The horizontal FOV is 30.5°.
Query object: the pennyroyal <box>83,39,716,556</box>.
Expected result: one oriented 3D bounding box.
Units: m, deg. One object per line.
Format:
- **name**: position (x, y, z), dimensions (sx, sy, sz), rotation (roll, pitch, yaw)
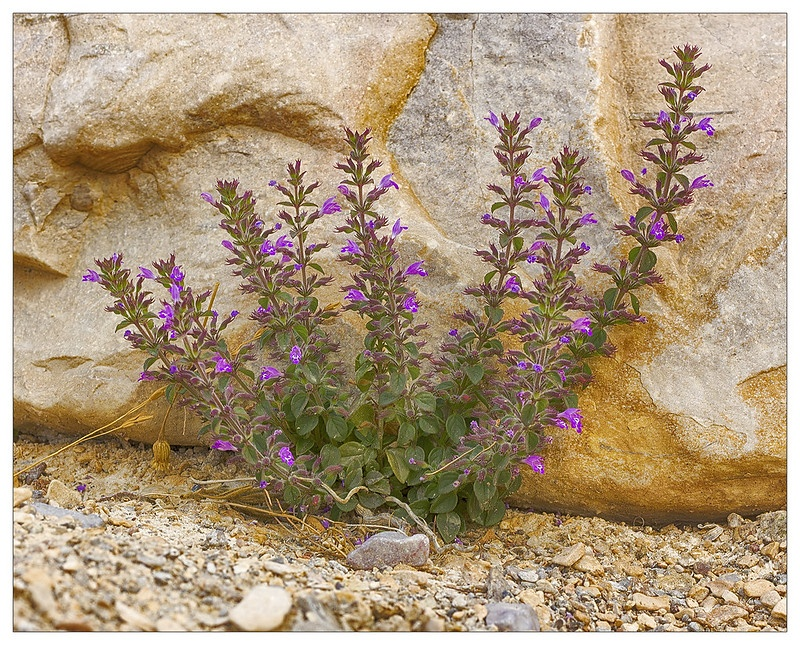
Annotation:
- **pennyroyal**: position (0.097, -0.299, 9.913), dimensions (3.467, 3.552, 1.389), rotation (11, 11, 3)
